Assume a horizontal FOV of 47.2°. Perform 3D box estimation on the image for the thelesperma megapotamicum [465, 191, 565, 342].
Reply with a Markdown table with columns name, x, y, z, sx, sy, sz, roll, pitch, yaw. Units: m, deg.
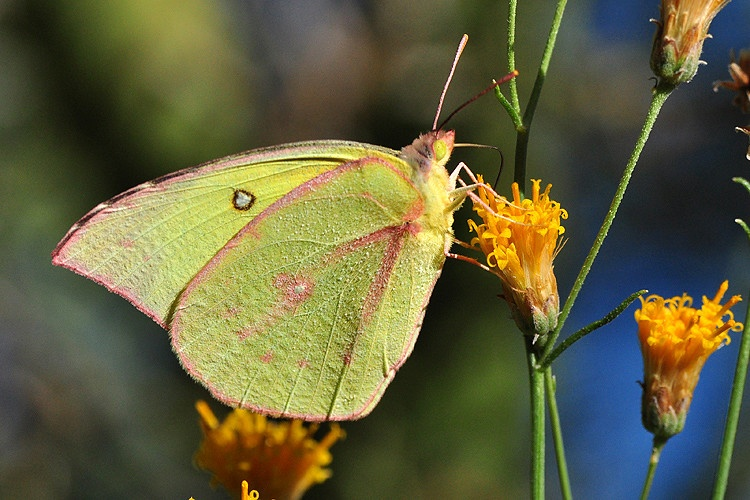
| name | x | y | z | sx | sy | sz | roll | pitch | yaw |
| --- | --- | --- | --- | --- | --- | --- | --- | --- | --- |
| thelesperma megapotamicum | 0.556 | 0.012 | 3.089 | 0.301 | 0.493 | 0.355 | -17 | 21 | -27 |
